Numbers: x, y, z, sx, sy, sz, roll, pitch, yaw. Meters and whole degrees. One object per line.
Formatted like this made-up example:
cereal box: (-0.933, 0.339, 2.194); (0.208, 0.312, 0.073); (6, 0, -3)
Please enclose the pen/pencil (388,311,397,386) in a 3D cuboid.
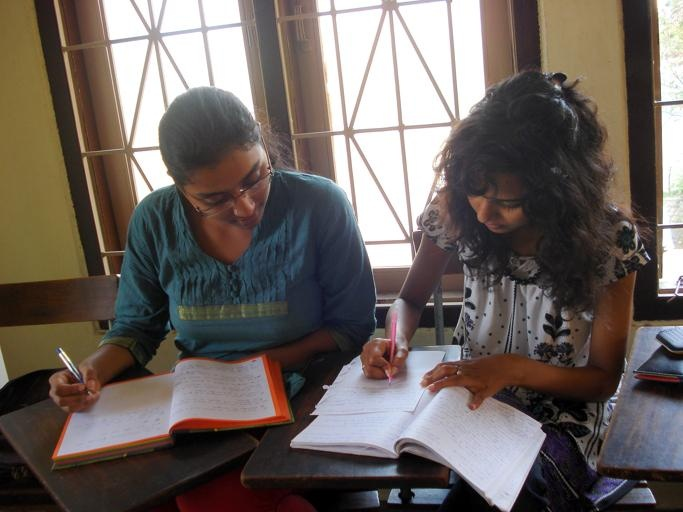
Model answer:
pen/pencil: (0.139, 0.255, 1.542); (0.010, 0.159, 0.011); (11, -6, -14)
